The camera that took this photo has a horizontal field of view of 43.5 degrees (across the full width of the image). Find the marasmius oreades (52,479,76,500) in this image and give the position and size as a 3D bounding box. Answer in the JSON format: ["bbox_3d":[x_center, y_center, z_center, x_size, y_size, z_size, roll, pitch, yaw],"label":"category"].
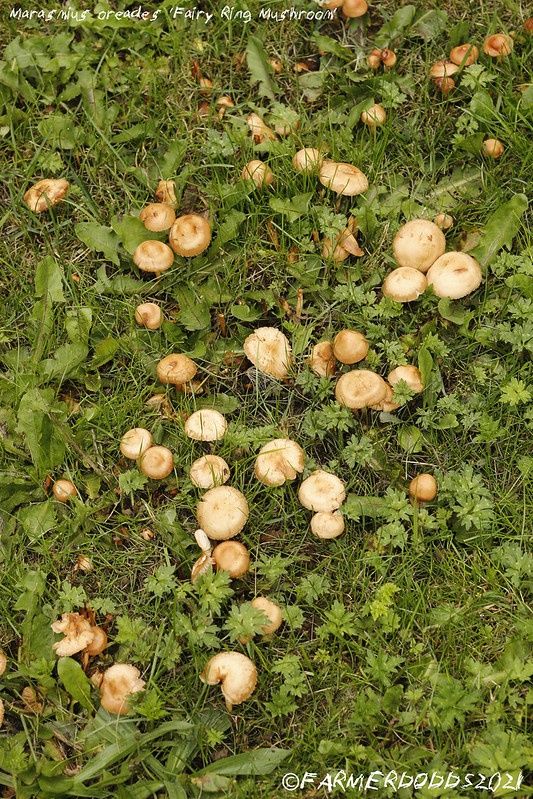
[{"bbox_3d":[-0.957,0.418,3.179,0.082,0.080,0.107,-9,26,-38],"label":"marasmius oreades"}]

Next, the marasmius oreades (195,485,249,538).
[{"bbox_3d":[-0.193,0.488,2.924,0.225,0.096,0.211,-27,63,-10],"label":"marasmius oreades"}]

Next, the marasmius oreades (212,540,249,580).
[{"bbox_3d":[-0.156,0.680,2.884,0.148,0.094,0.152,-36,65,-14],"label":"marasmius oreades"}]

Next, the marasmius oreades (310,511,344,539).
[{"bbox_3d":[0.274,0.559,2.989,0.145,0.062,0.107,-5,62,3],"label":"marasmius oreades"}]

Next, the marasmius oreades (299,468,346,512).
[{"bbox_3d":[0.258,0.422,3.035,0.201,0.084,0.189,31,69,19],"label":"marasmius oreades"}]
